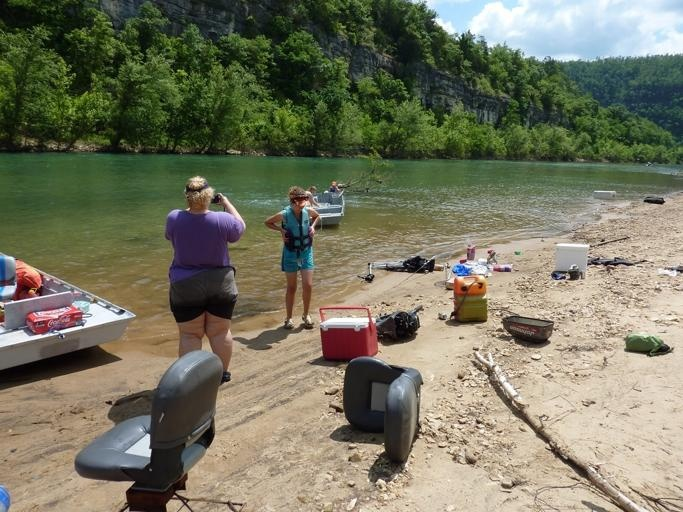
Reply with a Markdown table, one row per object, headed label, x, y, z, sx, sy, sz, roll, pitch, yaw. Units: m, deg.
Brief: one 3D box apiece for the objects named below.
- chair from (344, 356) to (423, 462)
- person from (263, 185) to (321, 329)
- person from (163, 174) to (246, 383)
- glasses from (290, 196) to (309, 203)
| label | x | y | z | sx | sy | sz | roll | pitch | yaw |
| --- | --- | --- | --- | --- | --- | --- | --- | --- | --- |
| chair | 0.434 | 1.681 | 6.208 | 1.106 | 0.761 | 1.180 | 3 | 4 | 26 |
| person | -0.840 | 0.012 | 9.736 | 0.821 | 2.522 | 1.269 | -2 | 14 | -3 |
| person | -1.662 | 0.318 | 6.675 | 0.920 | 2.535 | 0.503 | -6 | 15 | -20 |
| glasses | -0.715 | -0.937 | 8.969 | 0.271 | 0.119 | 0.222 | -3 | 11 | -14 |
